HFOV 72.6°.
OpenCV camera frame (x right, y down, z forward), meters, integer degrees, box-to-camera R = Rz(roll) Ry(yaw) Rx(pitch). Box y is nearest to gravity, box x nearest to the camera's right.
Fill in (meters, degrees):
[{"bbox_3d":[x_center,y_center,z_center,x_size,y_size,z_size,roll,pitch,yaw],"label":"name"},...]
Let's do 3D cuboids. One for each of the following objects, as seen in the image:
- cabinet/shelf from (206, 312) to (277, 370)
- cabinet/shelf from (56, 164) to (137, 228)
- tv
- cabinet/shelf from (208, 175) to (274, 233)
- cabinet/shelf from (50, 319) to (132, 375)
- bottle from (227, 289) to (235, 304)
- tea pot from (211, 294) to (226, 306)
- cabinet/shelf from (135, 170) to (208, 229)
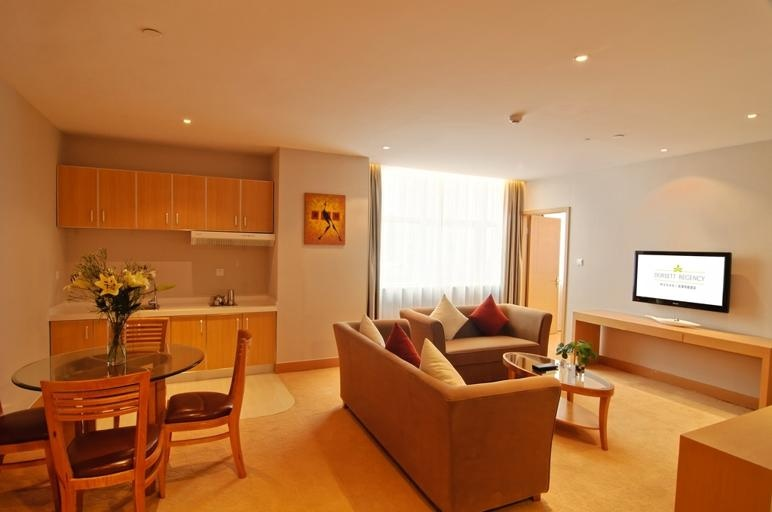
[{"bbox_3d":[-1.867,1.052,6.659,0.801,0.663,0.304,1,-3,-25],"label":"cabinet/shelf"},{"bbox_3d":[-3.595,-0.721,6.482,0.820,0.751,0.312,0,1,-29],"label":"cabinet/shelf"},{"bbox_3d":[3.875,0.334,6.834,0.067,0.606,0.856,-1,0,-34],"label":"tv"},{"bbox_3d":[-1.987,-0.681,7.108,0.802,0.680,0.304,1,2,-28],"label":"cabinet/shelf"},{"bbox_3d":[-3.015,0.918,5.336,0.535,0.356,0.304,-1,-6,9],"label":"cabinet/shelf"},{"bbox_3d":[-2.127,0.563,7.206,0.111,0.195,0.343,-2,2,-16],"label":"bottle"},{"bbox_3d":[-2.262,0.614,7.139,0.119,0.115,0.157,1,-4,0],"label":"tea pot"},{"bbox_3d":[-2.798,-0.707,6.796,0.788,0.676,0.302,1,0,-26],"label":"cabinet/shelf"}]
